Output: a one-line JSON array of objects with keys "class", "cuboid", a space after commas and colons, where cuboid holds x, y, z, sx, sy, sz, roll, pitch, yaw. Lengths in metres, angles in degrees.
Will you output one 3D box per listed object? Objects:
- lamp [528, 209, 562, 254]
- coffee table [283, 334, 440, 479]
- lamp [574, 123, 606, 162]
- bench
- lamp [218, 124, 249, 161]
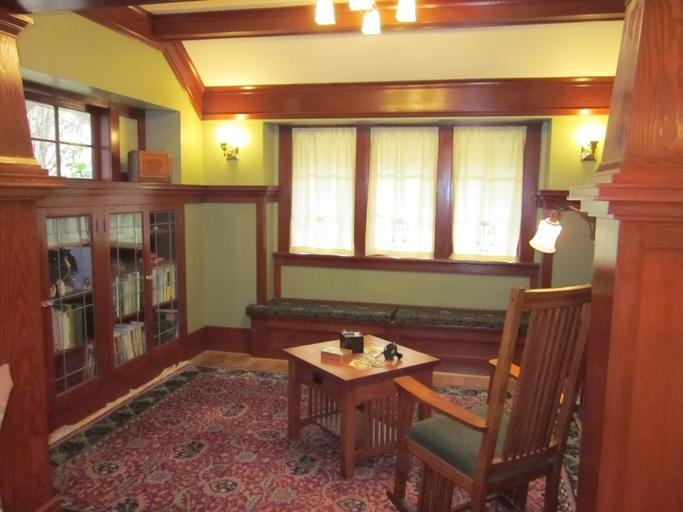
[{"class": "lamp", "cuboid": [1.486, -0.179, 3.845, 0.174, 0.319, 0.312, 7, 13, 21]}, {"class": "coffee table", "cuboid": [0.104, 0.993, 4.007, 0.984, 0.736, 0.959, 0, 6, -39]}, {"class": "lamp", "cuboid": [2.406, -1.106, 5.109, 0.243, 0.364, 0.160, 3, 14, 8]}, {"class": "bench", "cuboid": [0.481, 0.549, 5.638, 2.858, 0.935, 0.728, 1, 8, 20]}, {"class": "lamp", "cuboid": [-1.200, -1.244, 5.744, 0.361, 0.395, 0.167, 2, 14, 2]}]
